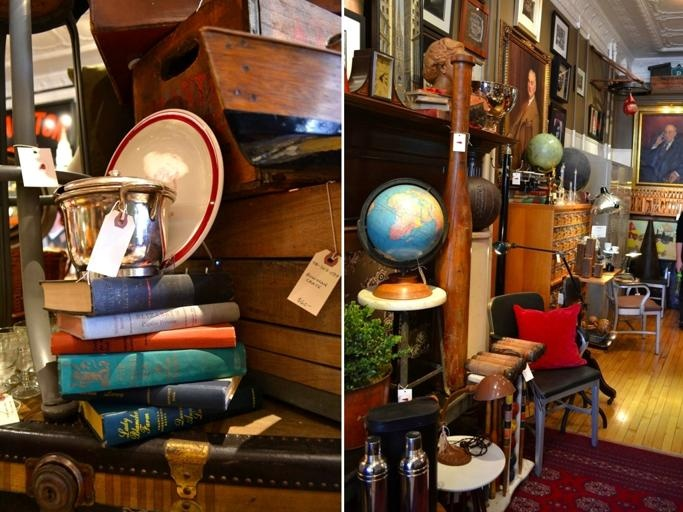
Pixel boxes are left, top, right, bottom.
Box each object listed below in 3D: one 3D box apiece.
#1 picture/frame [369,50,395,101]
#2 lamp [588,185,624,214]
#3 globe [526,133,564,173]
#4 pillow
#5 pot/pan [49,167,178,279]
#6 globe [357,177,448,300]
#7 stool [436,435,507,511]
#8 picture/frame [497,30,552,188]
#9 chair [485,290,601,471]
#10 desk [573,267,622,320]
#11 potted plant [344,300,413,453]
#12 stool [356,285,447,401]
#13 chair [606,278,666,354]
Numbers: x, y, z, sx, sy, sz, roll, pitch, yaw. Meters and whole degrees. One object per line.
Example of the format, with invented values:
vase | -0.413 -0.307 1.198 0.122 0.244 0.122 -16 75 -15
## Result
picture/frame | 0.150 -0.705 2.074 0.024 0.247 0.208 1 3 33
lamp | 2.145 -0.441 4.235 0.182 0.187 0.272 -7 13 40
globe | 1.602 -0.782 4.147 0.246 0.328 0.265 0 -3 0
pillow | 1.148 0.441 2.928 0.376 0.410 0.152 0 -16 -11
pot/pan | -0.597 -0.091 1.380 0.283 0.221 0.246 -1 -3 15
globe | 0.246 -0.063 2.007 0.346 0.448 0.204 0 3 -41
stool | 0.539 0.953 2.196 0.259 0.270 0.473 3 2 18
picture/frame | 1.355 -1.084 3.920 0.097 1.483 1.259 1 4 30
chair | 1.311 0.623 3.045 0.447 0.756 0.463 11 -12 11
desk | 2.000 0.273 4.084 0.264 0.441 0.279 11 29 35
potted plant | 0.096 0.390 1.742 0.187 0.454 0.184 2 2 2
stool | 0.303 0.314 2.028 0.247 0.358 0.266 2 -23 27
chair | 2.311 0.469 4.106 0.365 0.628 0.535 -2 5 15
